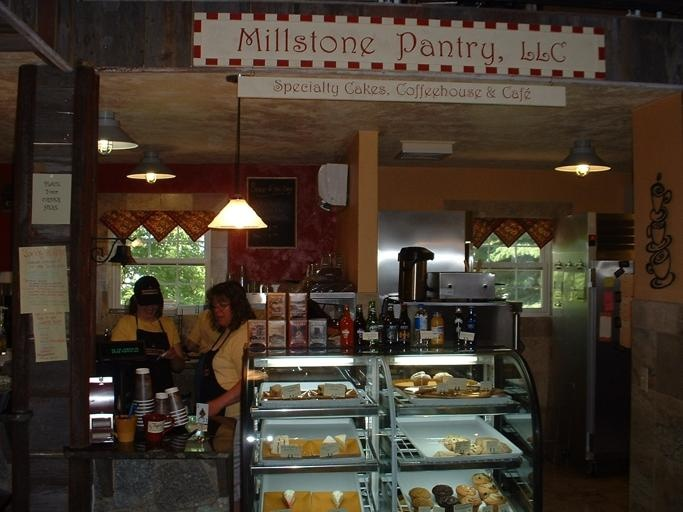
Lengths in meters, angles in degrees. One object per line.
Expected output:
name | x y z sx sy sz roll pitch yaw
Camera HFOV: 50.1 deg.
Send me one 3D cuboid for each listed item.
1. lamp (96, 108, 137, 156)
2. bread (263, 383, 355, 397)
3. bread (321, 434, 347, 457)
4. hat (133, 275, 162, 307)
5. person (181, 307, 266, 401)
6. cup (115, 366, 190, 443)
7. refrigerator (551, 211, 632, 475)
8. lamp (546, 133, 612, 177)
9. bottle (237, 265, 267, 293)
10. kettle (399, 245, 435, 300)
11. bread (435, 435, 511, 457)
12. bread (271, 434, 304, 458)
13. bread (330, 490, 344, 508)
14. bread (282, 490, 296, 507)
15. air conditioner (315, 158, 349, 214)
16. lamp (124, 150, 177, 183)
lamp | -1.653 -0.884 5.375 0.347 0.260 0.350 -1 0 1
bread | -0.202 0.858 4.711 0.593 0.094 0.248 -2 -1 -6
bread | -0.059 1.178 4.557 0.114 0.046 0.117 2 3 24
hat | -1.560 0.268 5.872 0.171 0.150 0.257 2 6 -32
person | -1.148 0.801 6.556 0.968 0.914 0.532 2 -8 -5
cup | -1.258 0.948 4.764 0.556 0.496 0.351 -1 0 -20
refrigerator | 2.430 0.812 7.054 0.542 2.459 1.112 -1 -2 -17
lamp | 1.992 -0.818 6.041 0.440 0.282 0.452 2 8 29
bottle | -0.932 0.246 7.558 0.347 0.359 0.199 1 -2 -5
kettle | 0.573 0.132 5.659 0.260 0.421 0.294 -2 -2 4
bread | 0.828 1.201 4.678 0.507 0.108 0.188 -2 -1 -5
bread | -0.354 1.187 4.554 0.224 0.117 0.132 -2 -1 11
bread | -0.027 1.517 4.569 0.057 0.087 0.033 1 -41 -2
bread | -0.315 1.513 4.573 0.092 0.086 0.087 -1 -2 -27
air conditioner | -0.066 -0.666 6.790 0.257 0.440 0.481 0 4 -4
lamp | -1.643 -0.798 6.310 0.352 0.274 0.367 -2 -1 -14
